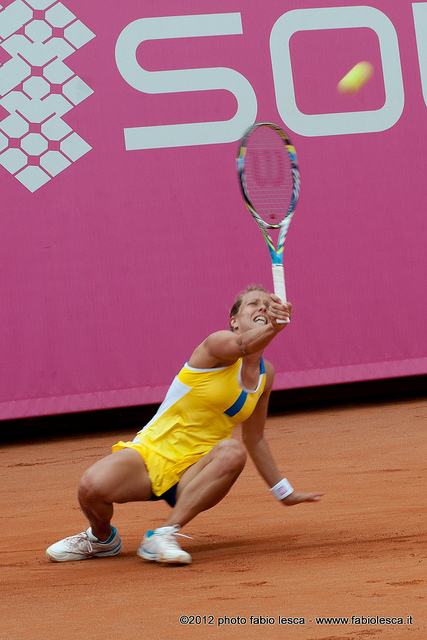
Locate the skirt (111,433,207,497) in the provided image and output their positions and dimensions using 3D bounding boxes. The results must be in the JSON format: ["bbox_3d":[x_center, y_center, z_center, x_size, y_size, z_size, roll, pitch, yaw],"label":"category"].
[{"bbox_3d":[-0.175,0.513,2.768,0.264,0.198,0.098,-5,2,-2],"label":"skirt"}]

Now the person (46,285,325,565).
[{"bbox_3d":[-0.135,0.374,2.797,0.974,0.879,0.583,-5,2,6],"label":"person"}]
